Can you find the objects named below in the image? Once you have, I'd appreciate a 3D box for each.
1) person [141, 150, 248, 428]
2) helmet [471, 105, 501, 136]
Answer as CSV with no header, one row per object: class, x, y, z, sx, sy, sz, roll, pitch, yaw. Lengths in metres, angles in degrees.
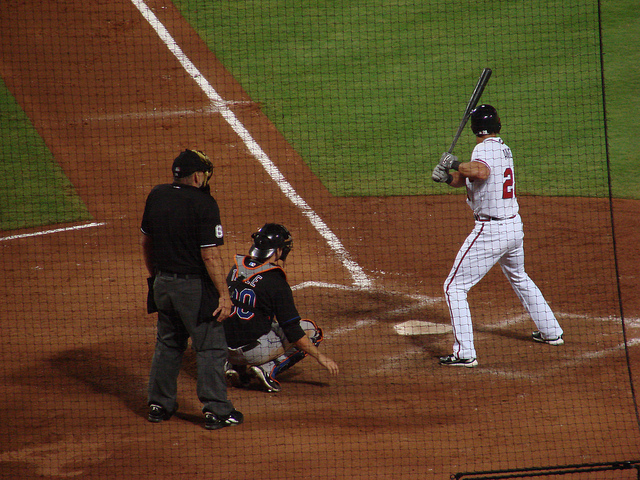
person,-1.368,0.557,10.521,1.042,3.063,1.025,-1,17,-14
helmet,1.999,-1.429,11.529,0.362,0.359,0.223,5,15,9
